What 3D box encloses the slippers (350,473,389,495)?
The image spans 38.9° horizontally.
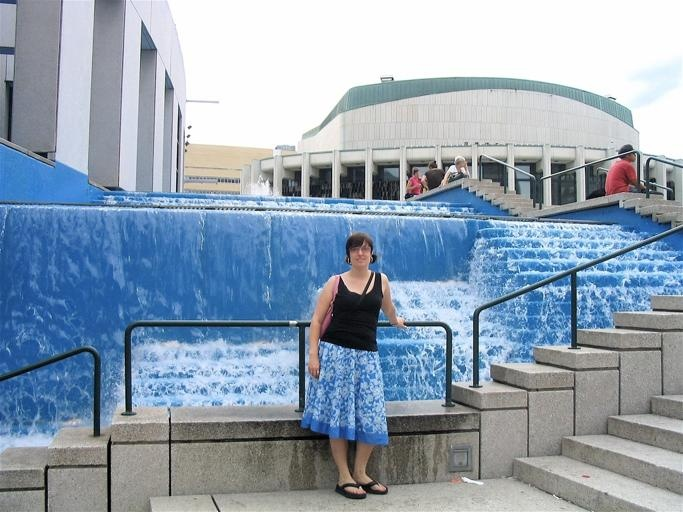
[{"bbox_3d":[0.409,3.031,12.890,0.351,0.126,0.213,4,8,23],"label":"slippers"}]

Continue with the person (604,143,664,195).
[{"bbox_3d":[6.454,-1.867,21.825,0.763,1.329,1.102,8,-7,-11],"label":"person"}]

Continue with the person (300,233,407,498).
[{"bbox_3d":[0.086,1.437,12.851,1.102,3.495,0.347,1,-1,3],"label":"person"}]

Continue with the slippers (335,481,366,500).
[{"bbox_3d":[0.129,3.089,12.812,0.290,0.121,0.183,-2,-4,34],"label":"slippers"}]

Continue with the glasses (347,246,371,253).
[{"bbox_3d":[0.252,-0.093,12.786,0.296,0.111,0.068,2,-1,-6],"label":"glasses"}]

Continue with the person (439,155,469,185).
[{"bbox_3d":[3.368,-2.588,28.641,0.689,0.988,2.454,1,-2,3],"label":"person"}]

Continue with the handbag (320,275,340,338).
[{"bbox_3d":[-0.135,0.627,12.810,0.132,0.661,0.459,6,-4,-1],"label":"handbag"}]
